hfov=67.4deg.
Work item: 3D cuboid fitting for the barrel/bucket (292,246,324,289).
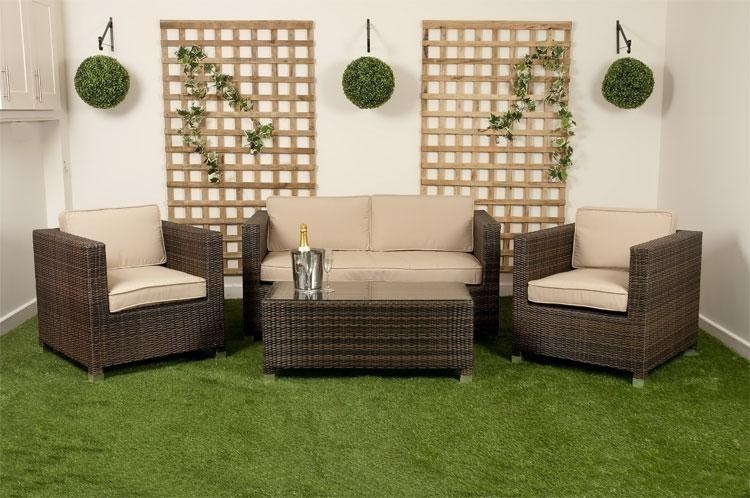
[{"bbox_3d":[-0.455,0.147,3.898,0.272,0.262,0.274,0,2,0],"label":"barrel/bucket"}]

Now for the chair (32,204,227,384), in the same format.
[{"bbox_3d":[-1.698,0.189,4.410,1.328,1.256,1.369,-4,6,-45],"label":"chair"}]
